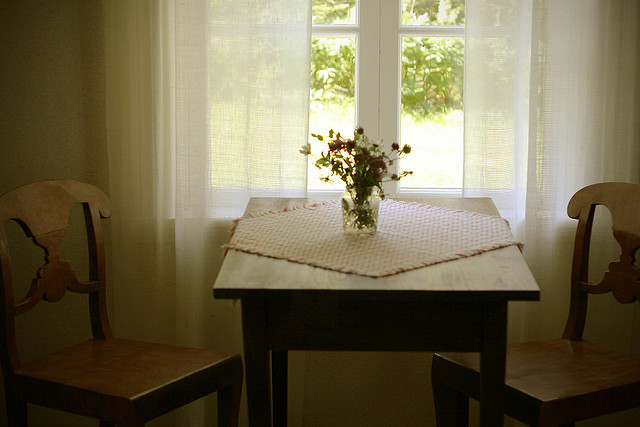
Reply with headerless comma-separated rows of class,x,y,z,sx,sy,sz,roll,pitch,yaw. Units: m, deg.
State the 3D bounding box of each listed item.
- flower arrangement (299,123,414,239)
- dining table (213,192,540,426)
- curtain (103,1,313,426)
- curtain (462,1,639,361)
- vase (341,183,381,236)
flower arrangement,0.159,-0.087,2.133,0.445,0.488,0.463,2,-1,-28
dining table,0.163,0.345,2.154,1.037,0.943,1.030,0,25,3
curtain,-0.536,-0.157,2.520,0.952,1.706,0.443,1,14,13
curtain,1.092,-0.187,2.468,0.813,1.618,0.406,1,14,11
vase,0.140,-0.012,2.035,0.175,0.222,0.208,-2,1,-2
